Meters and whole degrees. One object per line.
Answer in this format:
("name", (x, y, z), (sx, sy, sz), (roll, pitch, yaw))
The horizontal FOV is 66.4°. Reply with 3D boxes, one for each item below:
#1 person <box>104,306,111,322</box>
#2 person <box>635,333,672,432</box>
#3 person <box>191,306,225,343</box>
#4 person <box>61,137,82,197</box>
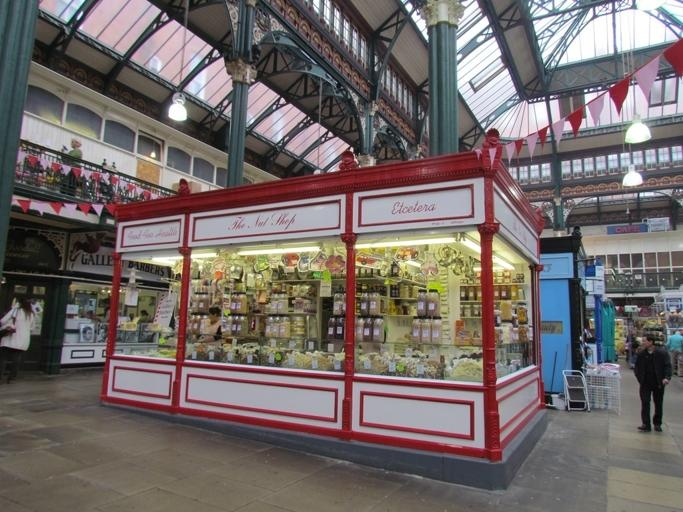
("person", (-7.733, 1.939, 17.257), (0.150, 0.474, 0.782), (1, 2, -27))
("person", (6.673, 2.656, 11.228), (0.648, 2.021, 1.024), (3, 2, 30))
("person", (-2.711, 1.395, 11.001), (0.542, 0.658, 0.777), (2, 2, -1))
("person", (-8.011, -2.513, 15.505), (0.484, 1.918, 0.445), (8, 2, -36))
